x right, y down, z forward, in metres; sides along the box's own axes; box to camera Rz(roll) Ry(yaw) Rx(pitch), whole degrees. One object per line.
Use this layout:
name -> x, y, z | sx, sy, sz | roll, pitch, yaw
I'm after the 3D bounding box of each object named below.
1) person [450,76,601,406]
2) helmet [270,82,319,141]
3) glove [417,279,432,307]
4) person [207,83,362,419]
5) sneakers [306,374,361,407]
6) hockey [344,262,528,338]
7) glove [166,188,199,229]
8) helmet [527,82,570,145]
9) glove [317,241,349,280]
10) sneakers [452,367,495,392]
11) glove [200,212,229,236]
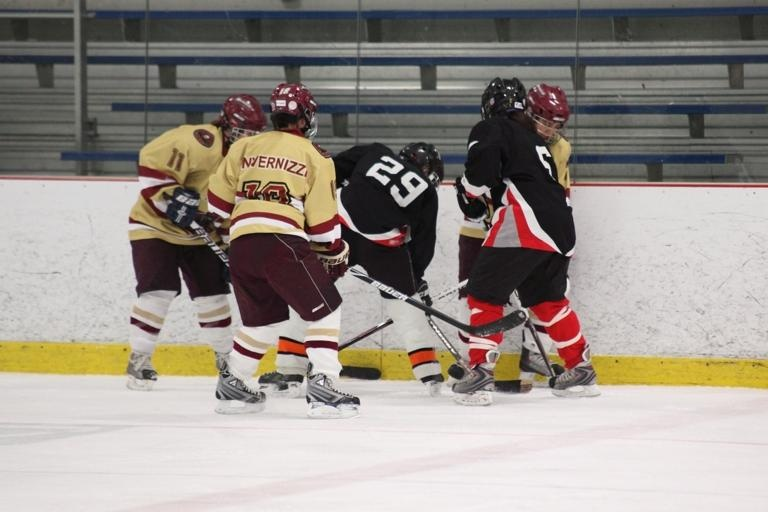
person -> 0.916, -0.089, 6.302 | 0.910, 2.051, 0.420 | 2, 4, -1
helmet -> -0.542, -0.873, 5.921 | 0.274, 0.302, 0.325 | 4, 5, 20
glove -> 0.276, 0.242, 6.534 | 0.073, 0.194, 0.089 | -9, 6, 20
person -> -0.581, 0.112, 5.741 | 0.899, 1.676, 0.334 | 2, 4, -11
sneakers -> -0.274, 0.780, 5.747 | 0.395, 0.208, 0.132 | 3, 7, 26
hockey -> 0.345, 0.301, 6.249 | 1.122, 0.385, 0.174 | 3, 4, 7
glove -> -1.267, -0.313, 6.226 | 0.183, 0.226, 0.127 | 18, 22, -21
helmet -> 1.057, -0.935, 6.419 | 0.290, 0.316, 0.343 | -5, 36, -24
glove -> -0.331, 0.018, 5.935 | 0.235, 0.198, 0.171 | -3, 11, -12
sneakers -> 0.577, 0.784, 6.236 | 0.342, 0.151, 0.114 | -3, 9, 4
glove -> -1.069, -0.200, 6.323 | 0.201, 0.072, 0.149 | 23, 0, -5
